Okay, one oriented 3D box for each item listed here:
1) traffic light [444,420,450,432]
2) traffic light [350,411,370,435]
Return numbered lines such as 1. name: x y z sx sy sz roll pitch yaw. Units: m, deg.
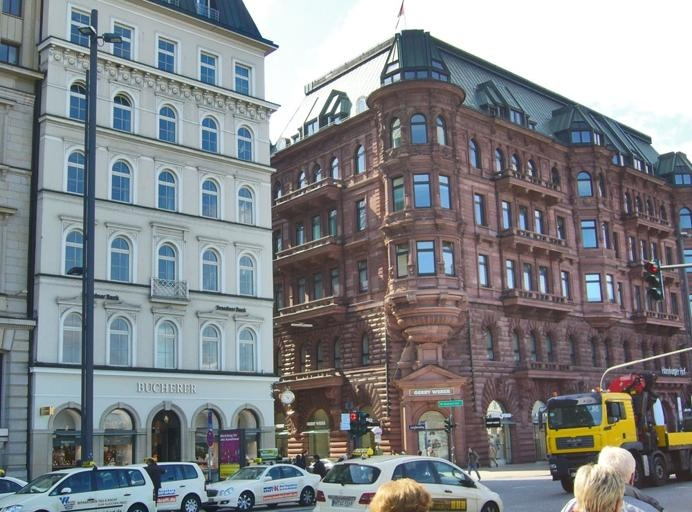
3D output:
1. traffic light: 5.945 9.912 54.038 0.462 0.691 0.278 8 -20 -29
2. traffic light: 0.658 8.901 49.238 1.095 1.132 1.115 2 -11 -2
